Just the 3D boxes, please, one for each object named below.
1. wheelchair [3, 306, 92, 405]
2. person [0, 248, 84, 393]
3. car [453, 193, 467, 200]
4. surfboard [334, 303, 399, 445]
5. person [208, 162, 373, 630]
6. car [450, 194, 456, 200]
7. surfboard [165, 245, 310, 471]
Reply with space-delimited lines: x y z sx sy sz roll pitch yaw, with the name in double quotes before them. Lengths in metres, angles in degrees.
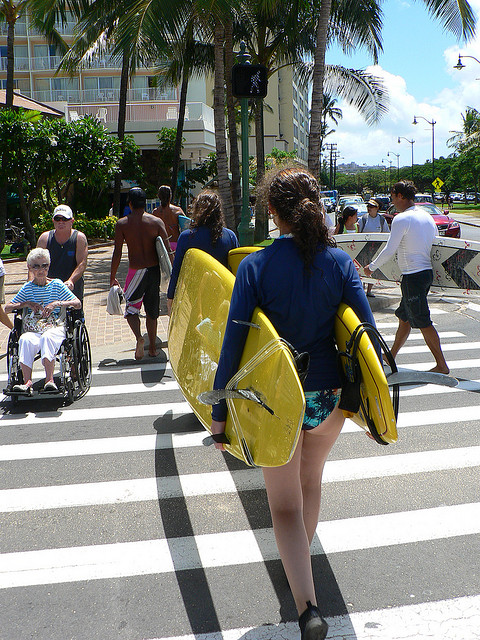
"wheelchair" -1.849 0.340 5.447 0.657 0.929 0.881 -2 6 -7
"person" -1.908 0.026 5.459 0.672 1.405 1.058 -3 6 -26
"car" 33.915 -18.875 87.756 1.472 1.079 6.331 2 8 23
"surfboard" 0.407 0.141 1.909 0.075 0.501 0.229 -5 -19 -7
"person" 0.186 0.283 2.198 0.635 1.821 1.001 1 6 15
"car" 32.556 -18.697 86.580 0.551 1.016 7.047 1 8 22
"surfboard" -0.071 0.090 2.439 0.159 0.654 1.414 10 20 -12
